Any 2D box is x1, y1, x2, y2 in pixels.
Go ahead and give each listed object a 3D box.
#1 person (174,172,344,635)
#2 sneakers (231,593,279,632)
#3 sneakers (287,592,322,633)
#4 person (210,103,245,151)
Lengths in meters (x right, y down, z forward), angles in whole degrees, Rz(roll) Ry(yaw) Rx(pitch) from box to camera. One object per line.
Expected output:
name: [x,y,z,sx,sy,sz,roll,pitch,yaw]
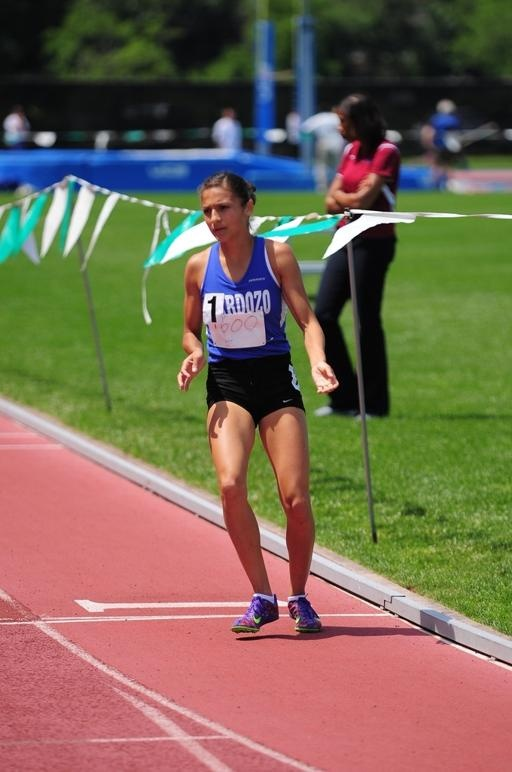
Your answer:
person: [0.002,0.056,3.403,0.507,1.443,0.383,4,12,-5]
sneakers: [0.002,0.738,3.444,0.074,0.088,0.205,-6,0,39]
sneakers: [0.154,0.746,3.428,0.073,0.062,0.150,-2,7,-19]
person: [-0.790,-6.964,28.782,0.724,1.200,2.274,4,10,-3]
